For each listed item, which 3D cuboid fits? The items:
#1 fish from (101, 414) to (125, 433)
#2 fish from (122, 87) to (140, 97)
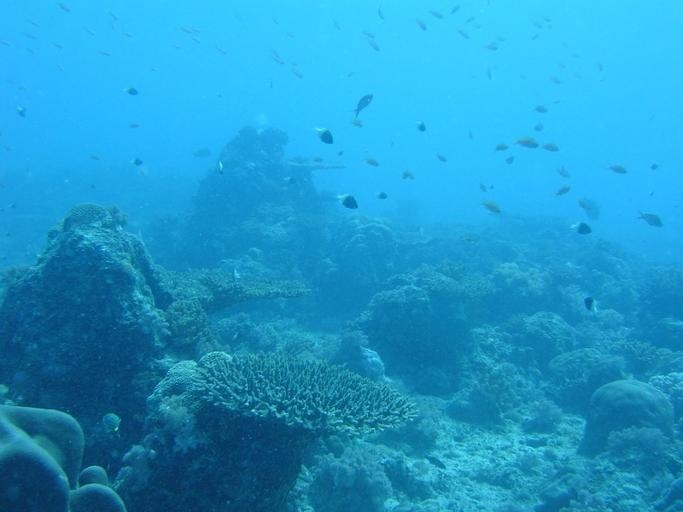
[{"bbox_3d":[-5.935,4.351,17.804,0.466,0.306,0.423,34,15,19],"label":"fish"},{"bbox_3d":[-6.402,-5.022,21.022,0.398,0.250,0.275,8,-3,-18],"label":"fish"}]
